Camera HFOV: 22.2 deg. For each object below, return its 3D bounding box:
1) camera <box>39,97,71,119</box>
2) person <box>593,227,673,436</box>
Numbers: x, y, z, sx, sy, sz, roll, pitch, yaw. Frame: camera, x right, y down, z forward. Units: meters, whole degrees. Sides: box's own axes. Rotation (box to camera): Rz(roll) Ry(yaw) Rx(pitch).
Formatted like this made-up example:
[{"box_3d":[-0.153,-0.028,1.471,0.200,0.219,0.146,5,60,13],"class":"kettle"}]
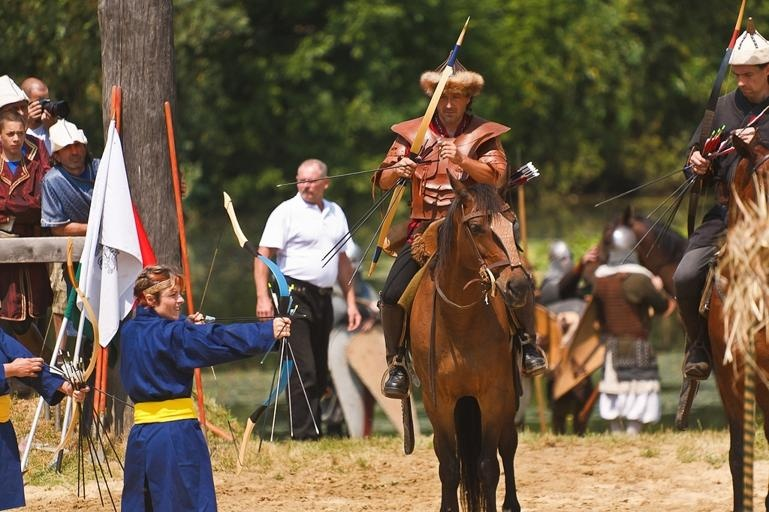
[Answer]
[{"box_3d":[-5.100,-2.294,30.849,0.282,0.259,0.471,23,3,-35],"class":"camera"},{"box_3d":[4.211,1.230,34.172,1.212,3.642,0.782,0,-6,1],"class":"person"}]
